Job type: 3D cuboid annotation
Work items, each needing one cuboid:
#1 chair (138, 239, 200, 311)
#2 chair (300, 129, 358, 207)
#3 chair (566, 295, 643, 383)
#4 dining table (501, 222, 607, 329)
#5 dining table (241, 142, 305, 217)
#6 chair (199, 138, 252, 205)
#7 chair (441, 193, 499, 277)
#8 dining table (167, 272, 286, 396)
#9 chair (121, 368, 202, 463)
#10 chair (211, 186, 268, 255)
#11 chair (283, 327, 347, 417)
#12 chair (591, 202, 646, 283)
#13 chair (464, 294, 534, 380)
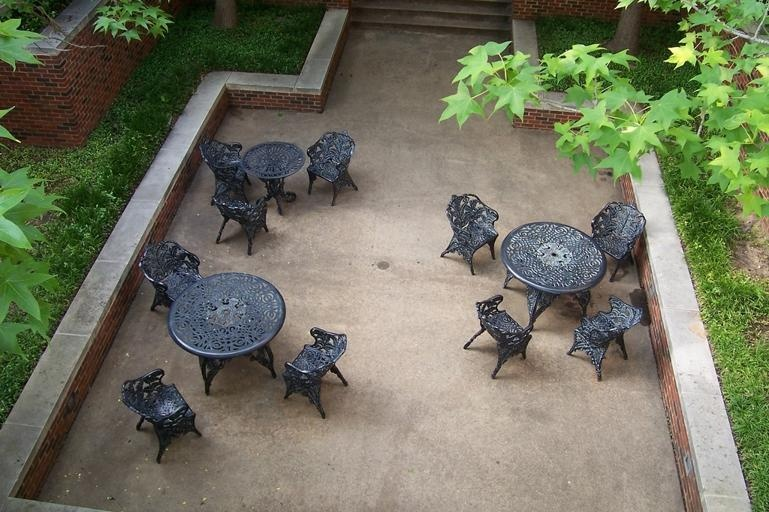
[{"bbox_3d":[-3.338,0.434,9.858,0.827,1.092,0.775,19,44,19],"label":"chair"},{"bbox_3d":[-1.039,-1.706,11.633,0.955,0.957,1.072,-18,54,-18],"label":"chair"},{"bbox_3d":[3.344,1.207,9.470,0.921,1.070,0.869,23,44,33],"label":"chair"},{"bbox_3d":[2.750,0.344,10.207,1.627,1.046,1.717,-28,46,-28],"label":"dining table"},{"bbox_3d":[-2.101,-1.417,11.767,1.113,1.201,1.142,-4,43,-12],"label":"dining table"},{"bbox_3d":[-3.039,-1.674,11.622,1.066,1.466,1.103,-3,75,-5],"label":"chair"},{"bbox_3d":[1.463,-0.298,10.685,0.772,1.056,0.798,-40,60,-17],"label":"chair"},{"bbox_3d":[-2.349,1.199,9.458,1.700,1.129,1.701,-15,35,-12],"label":"dining table"},{"bbox_3d":[-3.062,2.131,8.542,0.826,1.075,0.828,-18,46,-27],"label":"chair"},{"bbox_3d":[-2.538,-0.708,10.826,0.914,1.050,0.837,24,47,13],"label":"chair"},{"bbox_3d":[-0.982,1.660,8.999,0.856,1.073,0.907,10,35,15],"label":"chair"},{"bbox_3d":[3.803,-0.185,10.424,0.864,1.140,0.808,-18,40,-26],"label":"chair"},{"bbox_3d":[1.763,1.162,9.413,0.738,1.069,0.794,-19,46,-19],"label":"chair"}]
